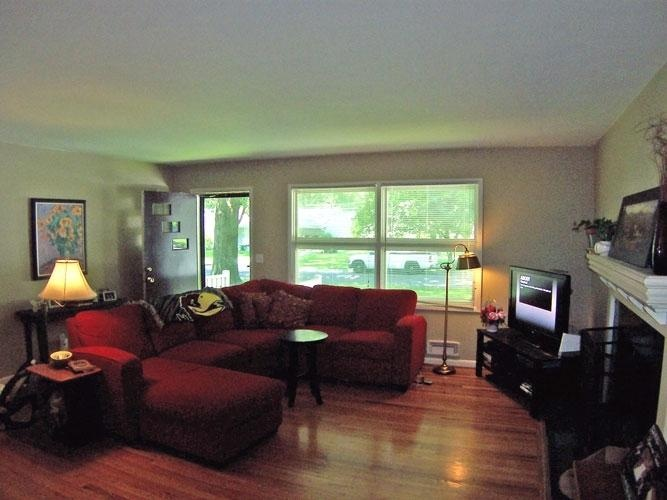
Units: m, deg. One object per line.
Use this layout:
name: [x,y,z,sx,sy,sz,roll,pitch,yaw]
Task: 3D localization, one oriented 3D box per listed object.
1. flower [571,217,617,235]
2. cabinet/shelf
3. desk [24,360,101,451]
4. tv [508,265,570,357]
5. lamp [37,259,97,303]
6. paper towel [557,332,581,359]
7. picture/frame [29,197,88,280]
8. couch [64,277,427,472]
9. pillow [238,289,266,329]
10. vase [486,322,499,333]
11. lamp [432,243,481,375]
flower: [2.368,-0.205,4.419,0.317,0.113,0.299,1,-1,1]
cabinet/shelf: [1.875,1.244,4.747,0.549,0.499,1.061,-3,9,-18]
desk: [-2.023,1.269,3.956,0.474,0.551,0.508,-19,-5,0]
tv: [1.983,0.609,4.805,0.297,0.736,0.881,1,0,-11]
lamp: [-2.464,0.293,4.596,0.455,0.293,0.452,1,2,37]
paper towel: [2.122,0.868,4.496,0.220,0.234,0.087,-2,-3,7]
picture/frame: [-3.134,-0.142,5.600,0.049,0.994,0.917,6,9,32]
couch: [-0.729,0.970,4.662,2.798,0.932,1.779,-8,12,-43]
pillow: [-0.926,0.657,5.591,0.358,0.345,0.153,7,-20,-39]
vase: [1.665,0.812,5.222,0.097,0.088,0.086,4,-3,-9]
lamp: [1.369,0.645,5.546,0.447,1.390,0.645,3,10,13]
